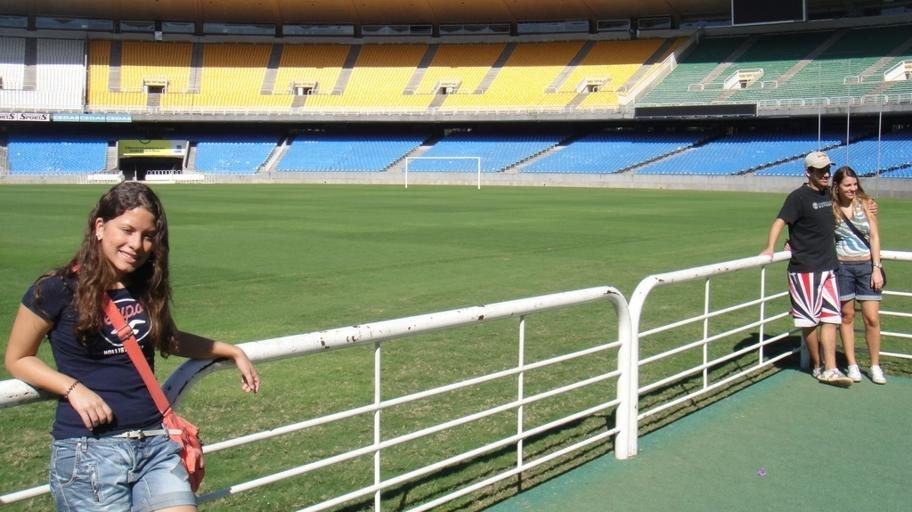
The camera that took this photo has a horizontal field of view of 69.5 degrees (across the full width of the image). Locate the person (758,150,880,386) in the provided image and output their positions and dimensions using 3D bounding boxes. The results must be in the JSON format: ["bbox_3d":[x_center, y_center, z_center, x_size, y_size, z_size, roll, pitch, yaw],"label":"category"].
[{"bbox_3d":[3.436,0.106,6.266,0.754,2.166,0.472,4,10,28],"label":"person"}]

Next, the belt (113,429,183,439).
[{"bbox_3d":[-1.698,0.957,3.558,0.322,0.061,0.065,1,-10,-18],"label":"belt"}]

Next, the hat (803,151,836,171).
[{"bbox_3d":[3.452,-0.895,6.256,0.236,0.129,0.284,-2,3,-7],"label":"hat"}]

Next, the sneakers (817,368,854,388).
[{"bbox_3d":[3.614,1.147,6.234,0.292,0.105,0.140,1,-7,37],"label":"sneakers"}]

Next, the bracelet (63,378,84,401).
[{"bbox_3d":[-2.017,0.691,3.429,0.081,0.079,0.039,-6,10,-32],"label":"bracelet"}]

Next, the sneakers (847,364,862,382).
[{"bbox_3d":[3.824,1.112,6.275,0.109,0.089,0.234,-9,-6,21],"label":"sneakers"}]
